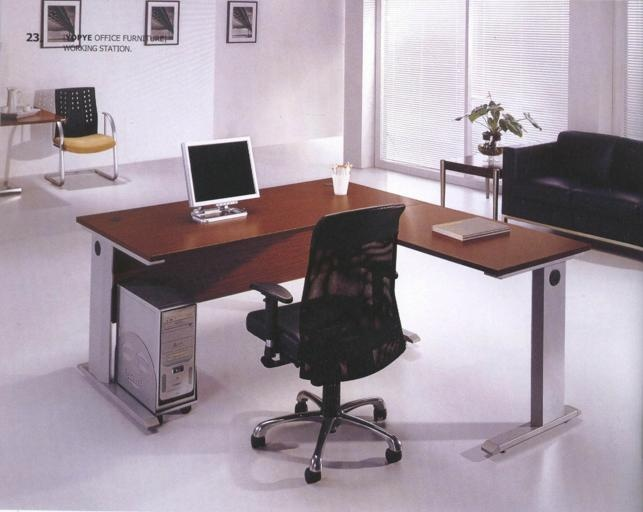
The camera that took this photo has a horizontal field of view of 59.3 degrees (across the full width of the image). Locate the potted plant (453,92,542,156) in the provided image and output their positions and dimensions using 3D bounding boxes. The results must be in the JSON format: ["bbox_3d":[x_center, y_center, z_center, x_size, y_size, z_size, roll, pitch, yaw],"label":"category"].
[{"bbox_3d":[1.857,-1.313,6.006,0.851,0.586,0.842,21,24,38],"label":"potted plant"}]

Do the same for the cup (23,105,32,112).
[{"bbox_3d":[-3.319,-1.664,6.357,0.087,0.057,0.136,-7,21,-15],"label":"cup"}]

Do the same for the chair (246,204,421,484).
[{"bbox_3d":[0.056,0.461,2.711,0.755,1.407,0.775,-11,25,-32],"label":"chair"}]

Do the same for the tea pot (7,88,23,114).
[{"bbox_3d":[-3.477,-1.782,6.386,0.143,0.258,0.464,-7,20,-17],"label":"tea pot"}]

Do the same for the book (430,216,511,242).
[{"bbox_3d":[0.813,-0.140,2.961,0.417,0.038,0.247,-9,22,-21],"label":"book"}]

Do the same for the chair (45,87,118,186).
[{"bbox_3d":[-2.835,-1.447,6.711,0.681,1.058,0.757,15,21,31],"label":"chair"}]
